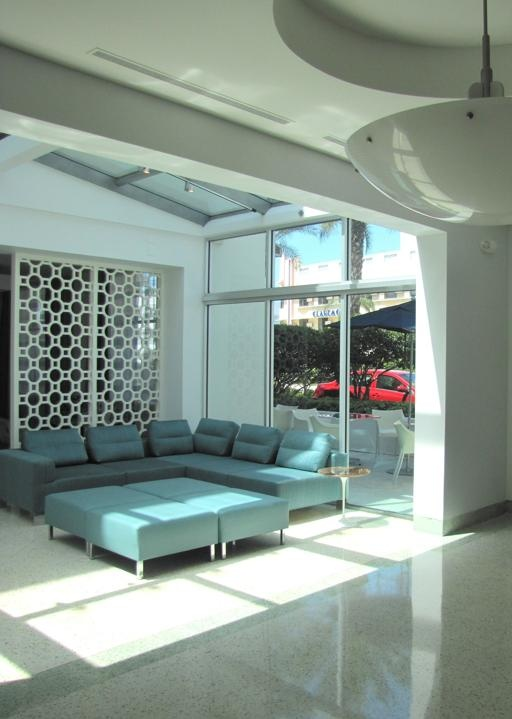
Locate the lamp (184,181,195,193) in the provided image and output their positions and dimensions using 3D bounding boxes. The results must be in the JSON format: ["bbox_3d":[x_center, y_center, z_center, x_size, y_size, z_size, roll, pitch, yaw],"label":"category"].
[{"bbox_3d":[-0.818,-2.135,7.608,0.073,0.107,0.075,3,0,-5],"label":"lamp"}]

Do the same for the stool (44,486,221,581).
[{"bbox_3d":[-0.956,1.304,4.738,1.188,0.427,0.724,-2,-3,44],"label":"stool"}]

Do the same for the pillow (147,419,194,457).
[{"bbox_3d":[-0.999,0.927,7.378,0.673,0.453,0.377,1,-1,-35],"label":"pillow"}]
